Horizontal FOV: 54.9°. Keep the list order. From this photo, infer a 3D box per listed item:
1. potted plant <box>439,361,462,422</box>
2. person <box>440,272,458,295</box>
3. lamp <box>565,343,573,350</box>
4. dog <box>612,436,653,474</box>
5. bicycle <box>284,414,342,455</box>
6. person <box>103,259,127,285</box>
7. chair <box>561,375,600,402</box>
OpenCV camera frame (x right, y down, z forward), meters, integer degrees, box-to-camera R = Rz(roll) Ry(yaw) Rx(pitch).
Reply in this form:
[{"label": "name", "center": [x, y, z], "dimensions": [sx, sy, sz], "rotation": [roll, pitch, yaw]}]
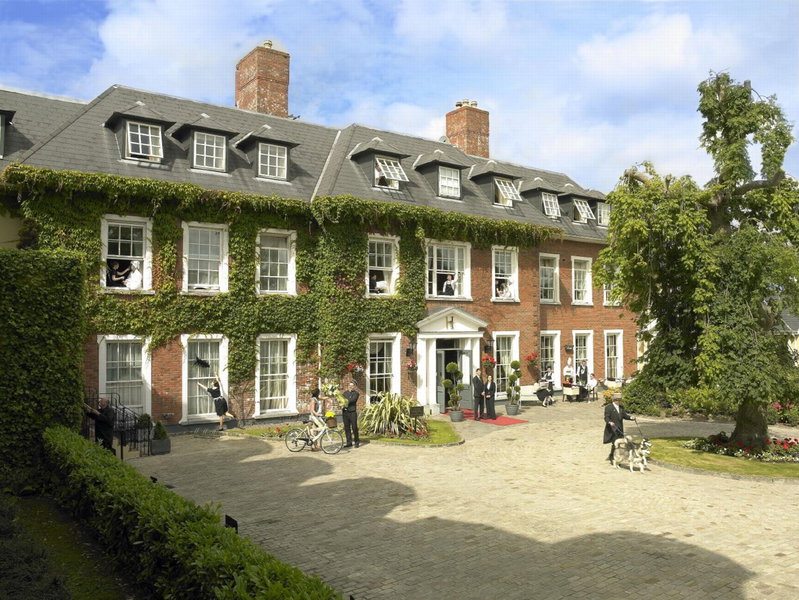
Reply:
[{"label": "potted plant", "center": [2.261, 3.671, 30.935], "dimensions": [0.993, 2.335, 1.004], "rotation": [0, -10, -36]}, {"label": "person", "center": [2.094, -0.703, 32.030], "dimensions": [0.926, 0.937, 0.296], "rotation": [-1, 4, -38]}, {"label": "lamp", "center": [8.054, 2.201, 36.549], "dimensions": [0.340, 0.338, 0.260], "rotation": [0, -4, 0]}, {"label": "dog", "center": [6.675, 4.331, 21.762], "dimensions": [1.250, 0.891, 0.940], "rotation": [1, 3, -8]}, {"label": "bicycle", "center": [-2.596, 4.202, 23.726], "dimensions": [1.842, 1.142, 0.930], "rotation": [-1, -10, 8]}, {"label": "person", "center": [-9.593, -0.992, 25.612], "dimensions": [0.856, 1.116, 0.567], "rotation": [0, 9, -14]}, {"label": "chair", "center": [8.386, 4.112, 35.846], "dimensions": [1.623, 1.074, 0.961], "rotation": [8, -10, -44]}]
